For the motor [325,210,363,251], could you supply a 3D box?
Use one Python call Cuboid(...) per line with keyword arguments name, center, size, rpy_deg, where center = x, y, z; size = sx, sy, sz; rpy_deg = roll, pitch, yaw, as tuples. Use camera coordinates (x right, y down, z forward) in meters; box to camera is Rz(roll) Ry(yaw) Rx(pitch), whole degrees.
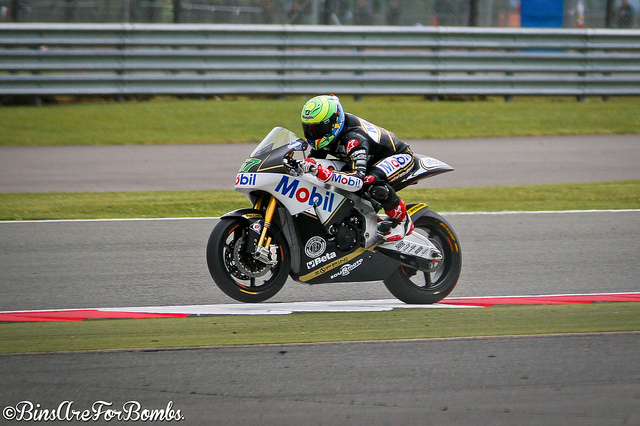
Cuboid(name="motor", center=(0.289, 0.275, 12.046), size=(0.339, 0.503, 1.246), rpy_deg=(1, 0, -24))
